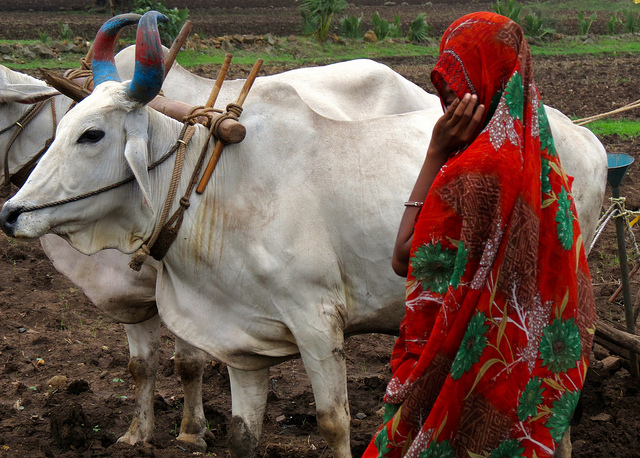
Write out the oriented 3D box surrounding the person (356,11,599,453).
[{"bbox_3d":[0.892,0.097,4.449,1.073,2.158,1.002,6,24,9],"label":"person"}]
